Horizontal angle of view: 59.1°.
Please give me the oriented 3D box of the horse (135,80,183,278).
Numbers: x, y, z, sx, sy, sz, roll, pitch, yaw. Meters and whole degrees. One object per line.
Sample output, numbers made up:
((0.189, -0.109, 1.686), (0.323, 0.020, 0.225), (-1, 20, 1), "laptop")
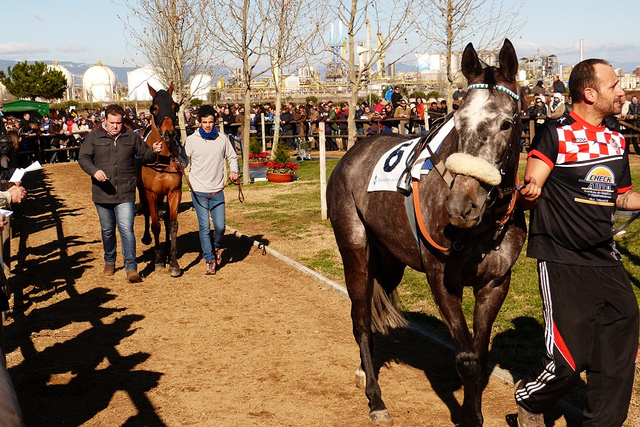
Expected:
((-2.915, -0.687, 10.144), (0.774, 3.191, 2.472), (-5, 13, -18), "horse")

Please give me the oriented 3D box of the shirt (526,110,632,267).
((2.119, -0.204, 4.671), (0.757, 1.232, 0.371), (3, 12, 18), "shirt")

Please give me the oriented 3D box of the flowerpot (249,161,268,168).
((-2.433, -1.861, 21.703), (0.620, 0.316, 0.749), (-3, 13, -9), "flowerpot")

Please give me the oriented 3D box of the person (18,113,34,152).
((-11.405, -3.095, 21.876), (0.400, 1.331, 1.200), (-7, 13, -26), "person")

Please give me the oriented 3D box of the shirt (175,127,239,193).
((-1.827, -0.898, 9.286), (1.010, 1.040, 0.601), (-8, 15, -31), "shirt")

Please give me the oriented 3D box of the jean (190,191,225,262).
((-1.843, 0.217, 9.383), (0.506, 1.245, 0.505), (-4, 12, -13), "jean")

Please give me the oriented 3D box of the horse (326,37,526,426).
((0.926, 0.243, 5.260), (1.001, 3.476, 1.908), (-9, 14, -33), "horse")

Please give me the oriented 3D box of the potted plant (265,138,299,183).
((-1.360, -1.804, 19.811), (1.205, 1.762, 1.238), (0, 3, 0), "potted plant")

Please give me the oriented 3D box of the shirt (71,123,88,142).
((-10.570, -3.488, 24.618), (0.547, 0.794, 1.864), (-7, 14, -24), "shirt")

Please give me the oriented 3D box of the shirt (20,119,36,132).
((-11.462, -3.405, 21.977), (0.561, 0.463, 0.608), (4, 13, 23), "shirt")

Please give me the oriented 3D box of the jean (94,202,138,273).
((-3.276, 0.393, 9.128), (0.557, 1.252, 0.658), (-6, 13, -21), "jean")

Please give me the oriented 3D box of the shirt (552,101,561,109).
((7.681, -3.532, 18.405), (0.175, 0.168, 1.819), (4, 14, 22), "shirt")
